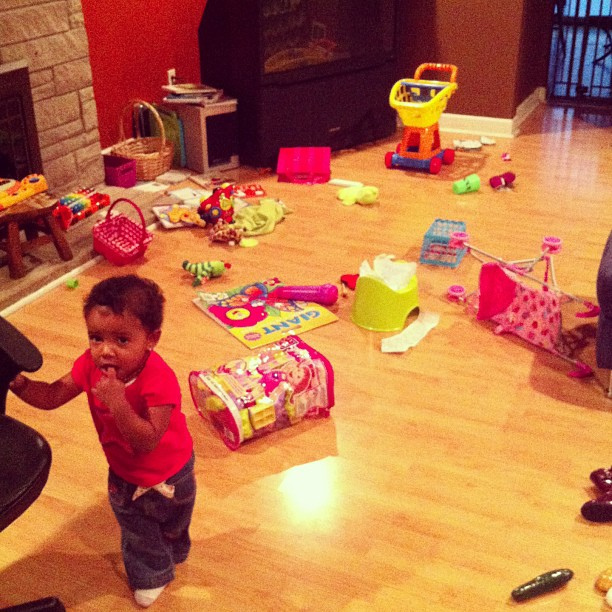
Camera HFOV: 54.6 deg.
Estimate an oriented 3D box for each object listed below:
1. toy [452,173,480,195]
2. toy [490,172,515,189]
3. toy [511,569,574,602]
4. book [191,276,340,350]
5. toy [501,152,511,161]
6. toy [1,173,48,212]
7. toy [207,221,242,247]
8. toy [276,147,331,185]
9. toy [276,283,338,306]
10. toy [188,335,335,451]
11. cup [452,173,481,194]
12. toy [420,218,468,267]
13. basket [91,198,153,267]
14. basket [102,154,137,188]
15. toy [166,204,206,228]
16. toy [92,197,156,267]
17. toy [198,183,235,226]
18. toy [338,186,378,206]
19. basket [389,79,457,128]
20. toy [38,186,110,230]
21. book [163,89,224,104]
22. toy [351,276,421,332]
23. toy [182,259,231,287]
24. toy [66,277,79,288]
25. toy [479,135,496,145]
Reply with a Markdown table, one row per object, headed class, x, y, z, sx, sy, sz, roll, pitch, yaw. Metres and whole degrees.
| class | x | y | z | sx | sy | sz | roll | pitch | yaw |
| --- | --- | --- | --- | --- | --- | --- | --- | --- | --- |
| toy | 1.004 | -0.759 | 3.731 | 0.175 | 0.074 | 0.101 | -20 | 49 | -30 |
| toy | 1.251 | -0.799 | 3.771 | 0.153 | 0.085 | 0.060 | -27 | -1 | -19 |
| toy | 0.543 | 0.635 | 1.344 | 0.166 | 0.052 | 0.026 | -10 | 27 | -13 |
| book | -0.168 | 0.041 | 2.524 | 0.451 | 0.040 | 0.394 | -14 | 31 | -22 |
| toy | 1.437 | -1.074 | 4.250 | 0.077 | 0.031 | 0.080 | 6 | 54 | 16 |
| toy | -1.297 | -0.510 | 2.710 | 0.128 | 0.046 | 0.229 | 17 | 31 | 14 |
| toy | -0.431 | -0.373 | 3.149 | 0.107 | 0.078 | 0.168 | 19 | 6 | 21 |
| toy | -0.013 | -0.932 | 3.936 | 0.343 | 0.206 | 0.179 | 1 | 27 | 6 |
| toy | 0.011 | -0.061 | 2.657 | 0.264 | 0.111 | 0.100 | 1 | 8 | 3 |
| toy | -0.139 | 0.277 | 1.977 | 0.421 | 0.206 | 0.280 | -17 | 30 | -26 |
| cup | 1.006 | -0.770 | 3.711 | 0.177 | 0.075 | 0.100 | -18 | 19 | -26 |
| toy | 0.669 | -0.291 | 3.069 | 0.256 | 0.226 | 0.314 | 11 | 35 | 18 |
| basket | -0.926 | -0.363 | 3.000 | 0.271 | 0.270 | 0.230 | 17 | 32 | 33 |
| basket | -1.173 | -0.842 | 3.708 | 0.179 | 0.127 | 0.106 | 12 | 25 | 23 |
| toy | -0.677 | -0.514 | 3.373 | 0.164 | 0.046 | 0.166 | 8 | 27 | -25 |
| toy | -0.952 | -0.372 | 3.079 | 0.267 | 0.283 | 0.199 | 33 | 43 | 14 |
| toy | -0.523 | -0.562 | 3.377 | 0.205 | 0.155 | 0.162 | 13 | 29 | 29 |
| toy | 0.318 | -0.683 | 3.623 | 0.165 | 0.075 | 0.155 | -1 | 63 | 1 |
| basket | 0.785 | -1.434 | 4.001 | 0.381 | 0.223 | 0.487 | 14 | 43 | 31 |
| toy | -1.234 | -0.549 | 3.199 | 0.170 | 0.082 | 0.302 | 24 | 42 | 24 |
| book | -0.744 | -1.377 | 3.914 | 0.381 | 0.065 | 0.257 | -7 | 27 | -9 |
| toy | 0.324 | -0.053 | 2.555 | 0.278 | 0.217 | 0.334 | 15 | 31 | 26 |
| toy | -0.477 | -0.158 | 2.833 | 0.157 | 0.053 | 0.150 | -6 | 67 | -19 |
| toy | -1.098 | -0.112 | 2.789 | 0.052 | 0.022 | 0.053 | 16 | 31 | 13 |
| toy | 1.407 | -1.285 | 4.582 | 0.123 | 0.044 | 0.145 | 3 | 28 | 12 |
